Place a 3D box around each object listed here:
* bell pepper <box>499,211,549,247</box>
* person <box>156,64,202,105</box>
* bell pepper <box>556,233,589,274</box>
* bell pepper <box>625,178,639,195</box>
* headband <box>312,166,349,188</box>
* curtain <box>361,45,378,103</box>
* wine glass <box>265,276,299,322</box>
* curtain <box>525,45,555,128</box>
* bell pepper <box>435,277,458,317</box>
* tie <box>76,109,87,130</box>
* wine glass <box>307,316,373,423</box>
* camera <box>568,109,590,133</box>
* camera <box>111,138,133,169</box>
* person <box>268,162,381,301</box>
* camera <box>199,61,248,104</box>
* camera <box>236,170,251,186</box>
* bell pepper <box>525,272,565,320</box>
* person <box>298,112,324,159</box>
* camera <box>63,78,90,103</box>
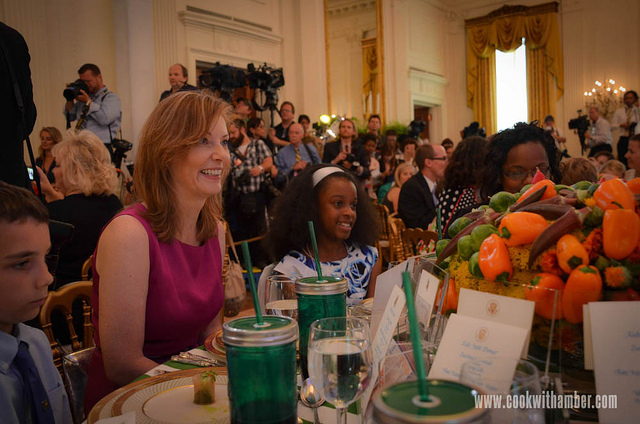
[{"bbox_3d":[0.480,0.044,1.116,0.106,0.078,0.046,3,8,23],"label":"bell pepper"},{"bbox_3d":[-1.805,-1.611,6.061,0.696,0.533,0.349,9,7,24],"label":"person"},{"bbox_3d":[0.560,0.093,1.045,0.043,0.046,0.066,19,38,-18],"label":"bell pepper"},{"bbox_3d":[0.721,-0.058,1.100,0.027,0.035,0.012,-7,17,-28],"label":"bell pepper"},{"bbox_3d":[0.040,-0.171,2.354,0.160,0.100,0.083,-1,7,-9],"label":"headband"},{"bbox_3d":[1.140,-3.297,11.251,0.242,1.380,0.734,4,8,34],"label":"curtain"},{"bbox_3d":[-0.092,0.270,1.457,0.103,0.153,0.156,1,-7,-5],"label":"wine glass"},{"bbox_3d":[5.972,-3.460,12.877,0.837,2.159,0.413,4,8,32],"label":"curtain"},{"bbox_3d":[0.313,0.211,1.169,0.052,0.084,0.090,2,7,16],"label":"bell pepper"},{"bbox_3d":[-2.783,-1.074,5.517,0.106,0.236,0.278,-5,8,-32],"label":"tie"},{"bbox_3d":[0.046,0.367,1.078,0.154,0.224,0.146,-3,7,-20],"label":"wine glass"},{"bbox_3d":[5.870,-2.034,10.644,0.427,0.623,0.425,4,7,26],"label":"camera"},{"bbox_3d":[-2.229,-0.640,5.301,0.191,0.325,0.398,-4,8,-24],"label":"camera"},{"bbox_3d":[-0.006,0.112,2.224,0.569,0.654,0.768,1,7,7],"label":"person"},{"bbox_3d":[-1.406,-1.811,6.658,0.620,0.576,0.492,4,8,29],"label":"camera"},{"bbox_3d":[-0.890,-0.382,5.484,0.160,0.165,0.162,1,-4,-6],"label":"camera"},{"bbox_3d":[0.491,0.191,1.032,0.078,0.094,0.131,3,8,28],"label":"bell pepper"},{"bbox_3d":[-0.278,-1.299,7.997,0.289,0.740,0.279,-4,24,17],"label":"person"},{"bbox_3d":[-2.787,-1.365,5.435,0.250,0.176,0.283,-11,25,20],"label":"camera"}]
